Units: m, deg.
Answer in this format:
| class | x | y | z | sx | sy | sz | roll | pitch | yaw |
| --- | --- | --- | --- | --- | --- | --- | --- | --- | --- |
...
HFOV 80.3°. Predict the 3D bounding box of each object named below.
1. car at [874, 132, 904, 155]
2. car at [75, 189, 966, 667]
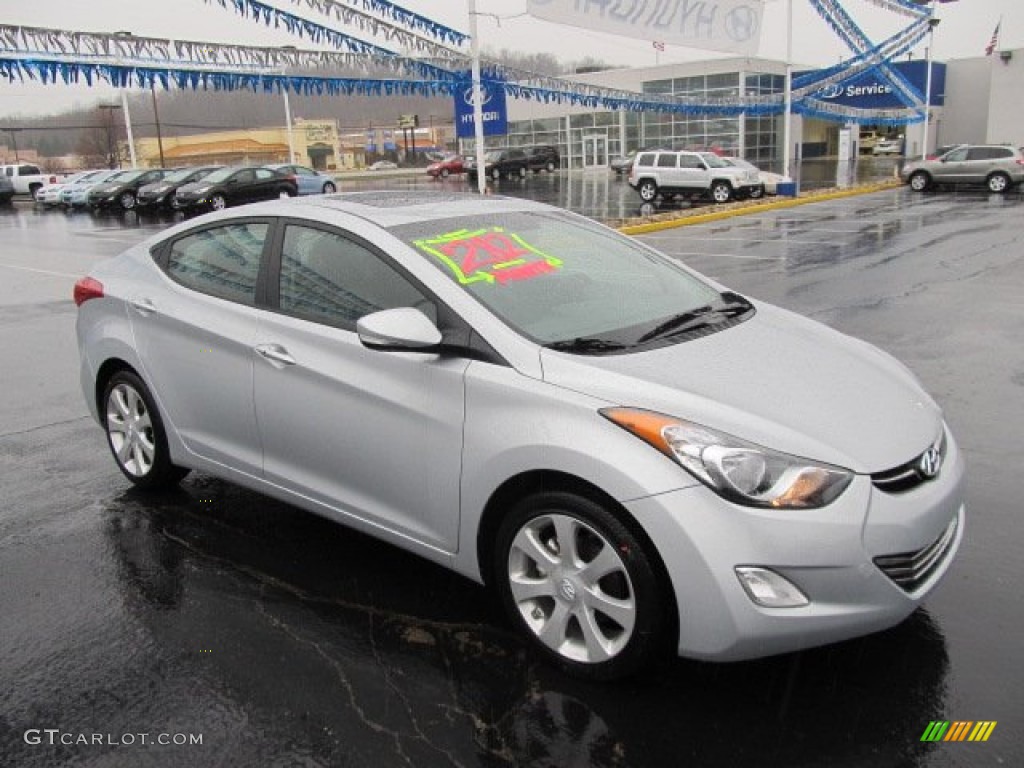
| class | x | y | z | sx | sy | sz | roll | pitch | yaw |
| --- | --- | --- | --- | --- | --- | --- | --- | --- | --- |
| car | 43.025 | -27.446 | 69.384 | 2.821 | 2.449 | 8.034 | 9 | 21 | 30 |
| car | -0.367 | 0.013 | 3.539 | 4.619 | 1.508 | 2.240 | 13 | 24 | 32 |
